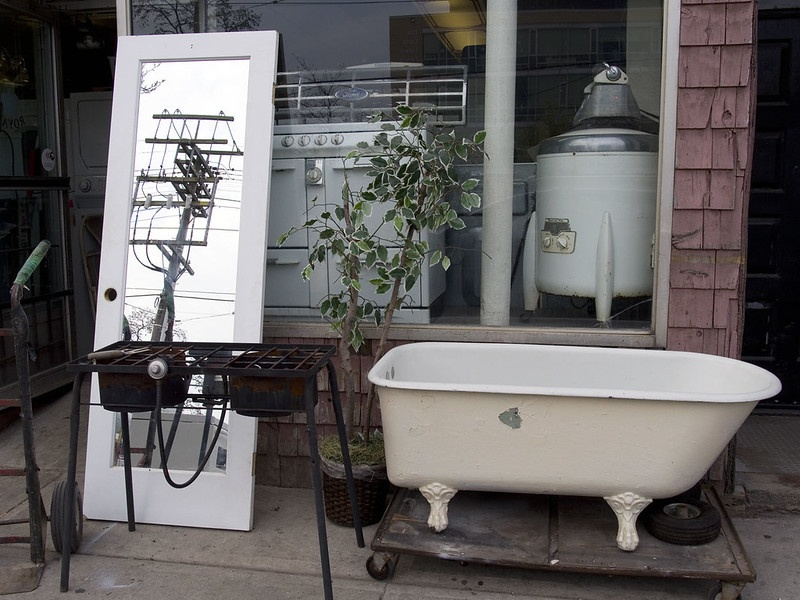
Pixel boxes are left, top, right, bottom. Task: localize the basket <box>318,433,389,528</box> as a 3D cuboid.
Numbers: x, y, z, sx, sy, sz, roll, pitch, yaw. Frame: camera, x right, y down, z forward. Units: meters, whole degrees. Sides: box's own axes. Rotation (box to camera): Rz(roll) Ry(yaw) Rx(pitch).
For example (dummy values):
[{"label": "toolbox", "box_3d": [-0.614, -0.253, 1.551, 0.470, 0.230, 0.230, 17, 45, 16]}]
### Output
[{"label": "basket", "box_3d": [-0.229, 0.905, 3.476, 0.385, 0.341, 0.382, -6, 10, -40]}]
